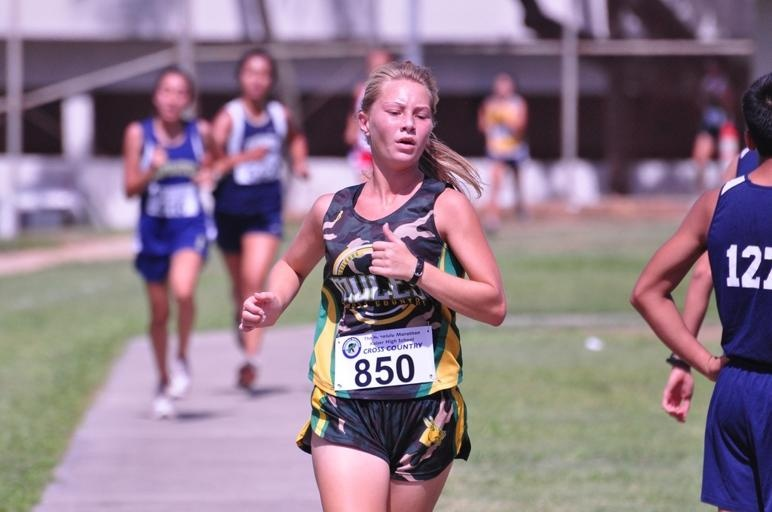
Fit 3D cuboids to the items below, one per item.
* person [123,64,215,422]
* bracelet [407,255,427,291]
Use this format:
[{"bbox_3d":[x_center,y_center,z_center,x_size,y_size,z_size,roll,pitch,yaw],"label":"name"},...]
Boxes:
[{"bbox_3d":[-1.582,-0.128,6.401,0.567,2.397,0.916,3,10,4],"label":"person"},{"bbox_3d":[0.124,0.060,3.575,0.061,0.110,0.055,1,10,-6],"label":"bracelet"}]
